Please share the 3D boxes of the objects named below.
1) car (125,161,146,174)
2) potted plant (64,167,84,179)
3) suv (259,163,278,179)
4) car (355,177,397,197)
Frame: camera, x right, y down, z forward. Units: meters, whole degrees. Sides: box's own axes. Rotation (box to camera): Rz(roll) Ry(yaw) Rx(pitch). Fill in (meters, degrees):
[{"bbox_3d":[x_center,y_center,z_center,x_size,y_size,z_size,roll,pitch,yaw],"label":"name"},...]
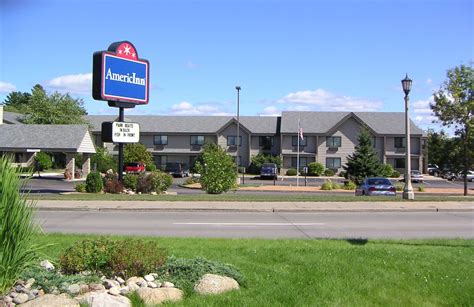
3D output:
[{"bbox_3d":[-10.735,1.564,55.708,1.130,0.854,2.104,1,4,12],"label":"car"},{"bbox_3d":[-15.680,1.979,50.699,1.839,1.056,1.204,1,-2,-2],"label":"potted plant"},{"bbox_3d":[3.293,1.909,55.007,1.494,1.310,3.178,1,2,5],"label":"suv"},{"bbox_3d":[9.002,2.190,33.881,2.060,1.082,1.386,3,4,22],"label":"car"}]
